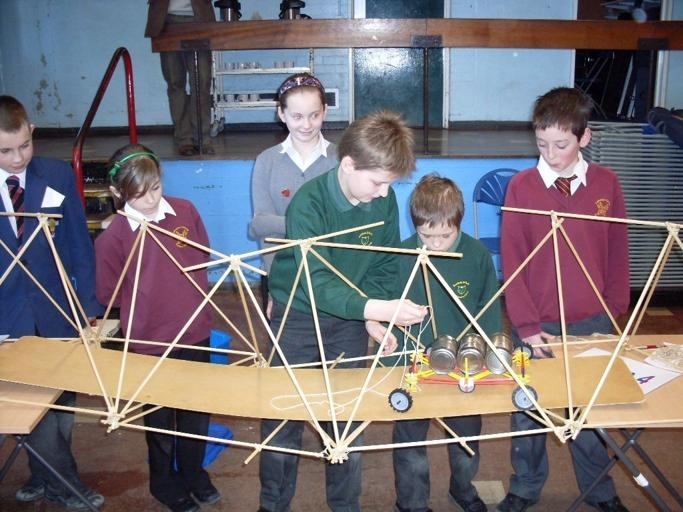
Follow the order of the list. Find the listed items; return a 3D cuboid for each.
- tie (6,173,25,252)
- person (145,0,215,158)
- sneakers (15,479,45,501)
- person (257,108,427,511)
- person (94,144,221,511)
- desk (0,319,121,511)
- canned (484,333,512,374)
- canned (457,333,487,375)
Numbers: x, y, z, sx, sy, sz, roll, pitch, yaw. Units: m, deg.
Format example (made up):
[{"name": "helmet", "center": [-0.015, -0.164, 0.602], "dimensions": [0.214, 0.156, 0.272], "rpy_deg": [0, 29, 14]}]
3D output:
[{"name": "tie", "center": [-1.550, -0.205, 3.124], "dimensions": [0.058, 0.369, 0.053], "rpy_deg": [-3, 4, -16]}, {"name": "person", "center": [-1.370, -1.541, 5.674], "dimensions": [0.545, 1.344, 1.051], "rpy_deg": [-1, 8, -12]}, {"name": "sneakers", "center": [-1.567, 1.181, 3.335], "dimensions": [0.141, 0.085, 0.084], "rpy_deg": [4, 10, -8]}, {"name": "person", "center": [-0.025, 0.330, 2.856], "dimensions": [0.672, 1.899, 0.710], "rpy_deg": [0, 8, -8]}, {"name": "person", "center": [-0.883, 0.364, 3.138], "dimensions": [0.564, 1.762, 0.517], "rpy_deg": [-1, 8, -12]}, {"name": "desk", "center": [-1.395, 0.827, 3.448], "dimensions": [0.662, 0.870, 0.453], "rpy_deg": [6, 40, -11]}, {"name": "canned", "center": [0.622, 0.407, 2.644], "dimensions": [0.135, 0.140, 0.146], "rpy_deg": [-6, 27, 17]}, {"name": "canned", "center": [0.526, 0.390, 2.610], "dimensions": [0.095, 0.143, 0.148], "rpy_deg": [5, 9, 27]}]
